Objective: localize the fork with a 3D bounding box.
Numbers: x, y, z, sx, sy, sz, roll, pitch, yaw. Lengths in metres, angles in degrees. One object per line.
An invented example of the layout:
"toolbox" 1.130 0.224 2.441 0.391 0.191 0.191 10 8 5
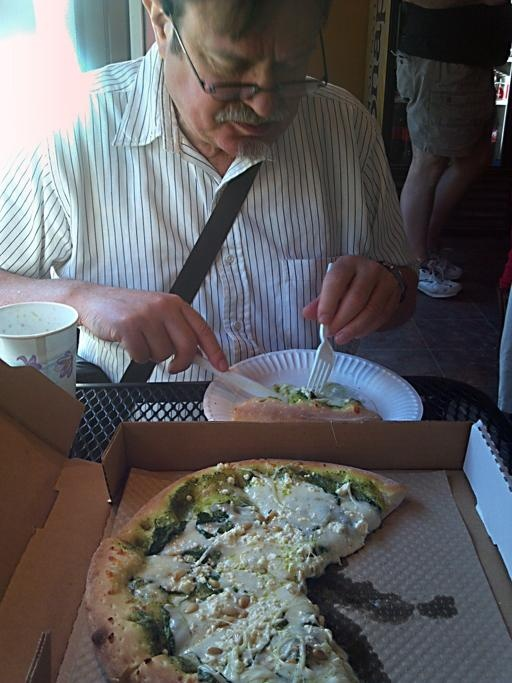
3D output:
"fork" 0.104 0.006 0.905 0.023 0.020 0.184 24 51 -15
